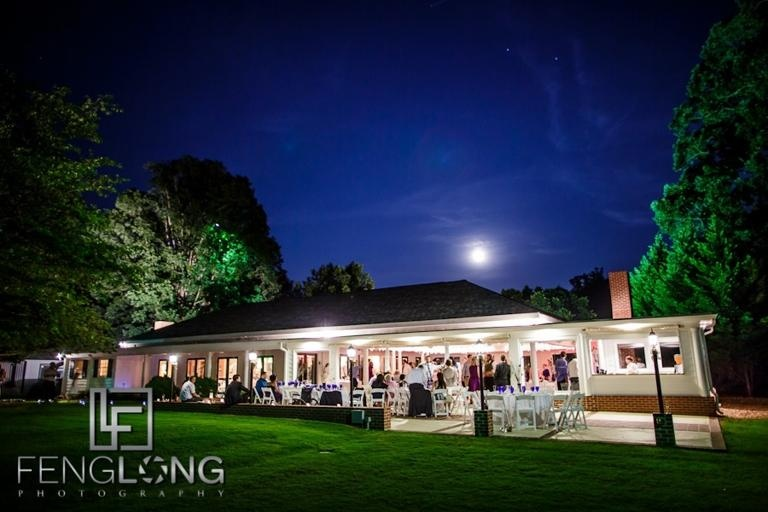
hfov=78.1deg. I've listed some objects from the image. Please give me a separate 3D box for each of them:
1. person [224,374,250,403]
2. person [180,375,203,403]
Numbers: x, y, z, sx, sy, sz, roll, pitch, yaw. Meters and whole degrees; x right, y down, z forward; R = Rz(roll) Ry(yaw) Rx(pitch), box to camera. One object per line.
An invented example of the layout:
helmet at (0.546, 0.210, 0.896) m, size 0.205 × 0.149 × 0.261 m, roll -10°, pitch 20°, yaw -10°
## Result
person at (-6.430, 5.824, 20.707) m, size 0.907 × 1.241 × 1.054 m, roll -6°, pitch -16°, yaw 12°
person at (-9.487, 6.443, 23.070) m, size 0.700 × 1.229 × 3.522 m, roll 3°, pitch -17°, yaw -21°
